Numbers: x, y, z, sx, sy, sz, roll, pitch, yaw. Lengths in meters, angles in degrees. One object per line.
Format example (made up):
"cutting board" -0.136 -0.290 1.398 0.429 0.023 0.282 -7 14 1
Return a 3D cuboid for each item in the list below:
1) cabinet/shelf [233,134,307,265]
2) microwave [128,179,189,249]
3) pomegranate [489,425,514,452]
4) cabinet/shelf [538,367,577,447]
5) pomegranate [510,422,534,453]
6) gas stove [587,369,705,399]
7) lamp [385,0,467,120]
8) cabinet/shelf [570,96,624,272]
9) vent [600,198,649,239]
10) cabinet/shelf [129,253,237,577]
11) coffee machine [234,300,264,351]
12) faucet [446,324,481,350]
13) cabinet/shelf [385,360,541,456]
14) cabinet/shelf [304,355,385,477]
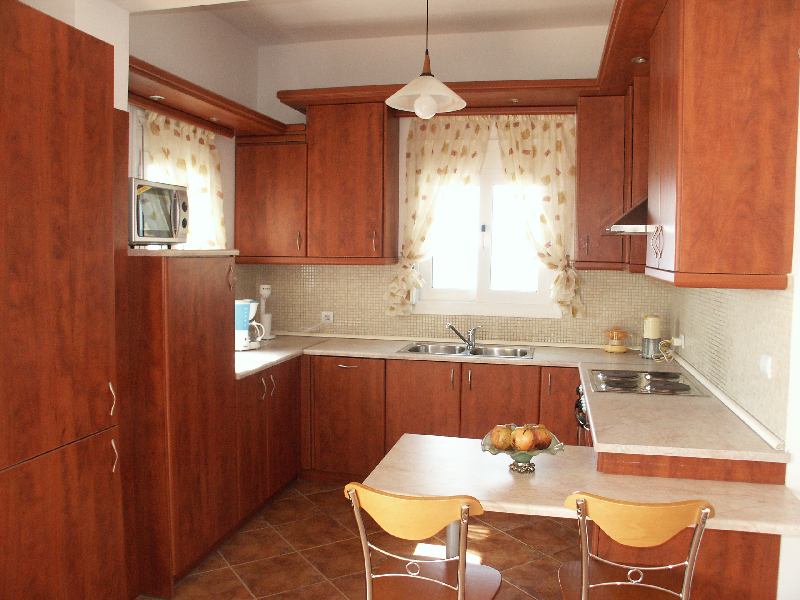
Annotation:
"cabinet/shelf" -0.949 -0.795 4.969 0.529 1.062 0.622 13 -4 -20
"microwave" -1.274 -0.469 3.241 0.285 0.310 0.433 1 3 3
"pomegranate" 0.436 0.601 2.662 0.090 0.099 0.094 9 -8 -5
"cabinet/shelf" 1.163 0.792 4.283 0.363 0.588 0.383 -2 1 10
"pomegranate" 0.519 0.589 2.578 0.097 0.125 0.096 10 -11 -38
"gas stove" 1.420 0.487 3.616 0.628 0.025 0.542 1 9 7
"lamp" 0.111 -1.122 3.147 0.364 0.356 0.289 9 12 43
"cabinet/shelf" 1.402 -0.800 4.303 0.384 1.283 0.290 2 -7 14
"vent" 1.289 -0.452 3.444 0.190 0.231 1.116 4 10 21
"cabinet/shelf" -1.252 0.572 3.512 0.385 1.795 0.731 -4 -4 13
"coffee machine" -1.125 0.181 4.455 0.323 0.366 0.210 3 6 13
"faucet" 0.478 0.269 4.661 0.270 0.176 0.364 1 9 5
"cabinet/shelf" 0.441 0.669 3.918 0.607 0.587 0.223 0 3 13
"cabinet/shelf" -0.386 0.809 4.736 0.559 1.072 0.536 3 16 2
